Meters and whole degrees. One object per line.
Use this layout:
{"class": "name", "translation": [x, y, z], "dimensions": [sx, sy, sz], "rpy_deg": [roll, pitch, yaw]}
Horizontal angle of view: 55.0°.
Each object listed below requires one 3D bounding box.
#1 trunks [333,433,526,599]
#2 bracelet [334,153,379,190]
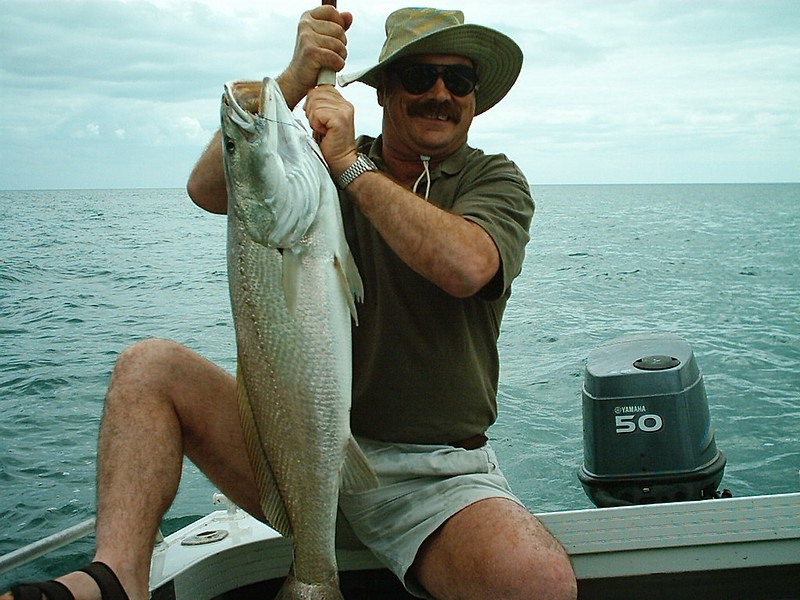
{"class": "trunks", "translation": [0.028, 0.959, 3.678], "dimensions": [0.426, 0.608, 0.874], "rpy_deg": [-43, -34, 20]}
{"class": "bracelet", "translation": [-0.206, -0.571, 3.492], "dimensions": [0.149, 0.099, 0.164], "rpy_deg": [-41, -20, 17]}
